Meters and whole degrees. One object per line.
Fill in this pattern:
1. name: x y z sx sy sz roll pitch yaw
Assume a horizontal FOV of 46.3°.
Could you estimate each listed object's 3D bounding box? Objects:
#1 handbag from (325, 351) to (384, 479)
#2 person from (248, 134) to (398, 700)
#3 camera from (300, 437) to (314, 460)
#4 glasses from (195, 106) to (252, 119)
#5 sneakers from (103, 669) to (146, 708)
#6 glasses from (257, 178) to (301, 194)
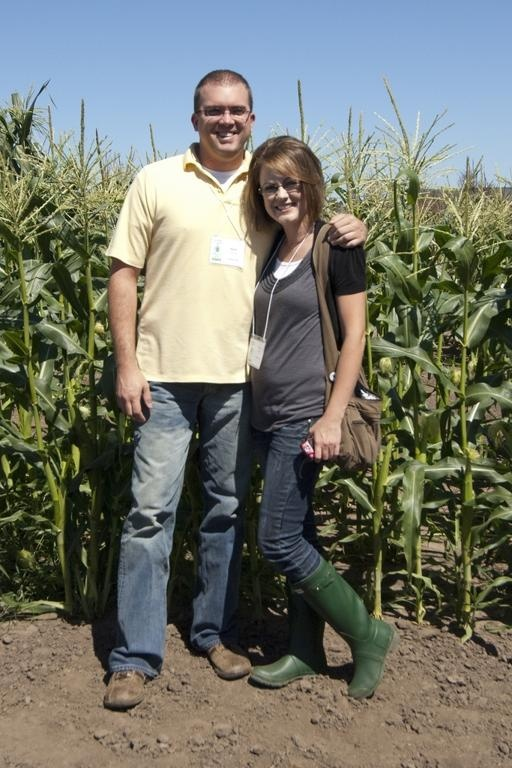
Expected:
1. handbag: 0.384 0.142 2.168 0.134 0.318 0.288 3 10 21
2. person: 0.216 0.159 2.256 0.591 2.122 0.422 2 10 21
3. camera: 0.173 0.229 2.082 0.022 0.063 0.056 -3 18 -17
4. glasses: -0.135 -1.043 2.297 0.203 0.047 0.085 -1 10 2
5. sneakers: -0.507 1.173 2.290 0.141 0.090 0.118 -3 10 -10
6. glasses: 0.087 -0.701 2.125 0.137 0.051 0.047 1 10 11
